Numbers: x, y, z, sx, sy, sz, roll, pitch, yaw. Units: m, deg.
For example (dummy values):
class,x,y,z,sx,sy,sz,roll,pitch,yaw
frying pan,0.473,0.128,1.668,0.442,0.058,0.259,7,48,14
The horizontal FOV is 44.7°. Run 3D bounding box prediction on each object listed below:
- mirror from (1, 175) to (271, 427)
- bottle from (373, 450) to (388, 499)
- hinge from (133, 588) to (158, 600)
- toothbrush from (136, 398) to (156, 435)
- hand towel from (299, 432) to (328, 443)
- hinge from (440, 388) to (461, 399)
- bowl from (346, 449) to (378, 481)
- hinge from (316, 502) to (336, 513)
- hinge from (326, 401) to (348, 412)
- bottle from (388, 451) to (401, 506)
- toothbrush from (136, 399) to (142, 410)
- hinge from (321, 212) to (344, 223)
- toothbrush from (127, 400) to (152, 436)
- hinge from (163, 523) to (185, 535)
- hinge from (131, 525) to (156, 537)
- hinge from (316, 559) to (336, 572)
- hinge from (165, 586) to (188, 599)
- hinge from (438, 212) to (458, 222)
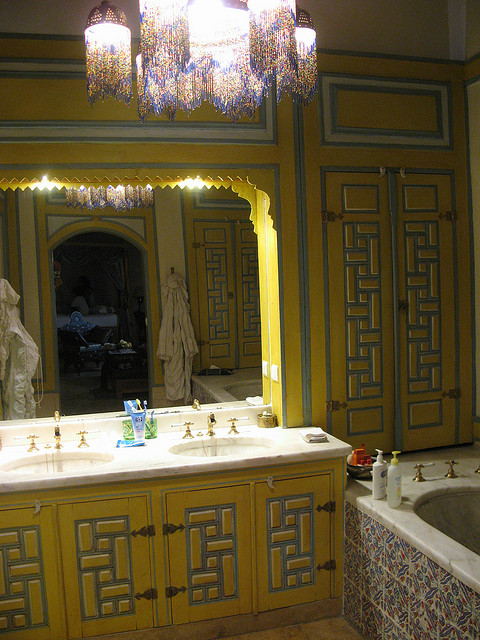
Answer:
class,x,y,z,sx,sy,sz,roll,pitch,yaw
mirror,-0.498,-0.091,2.907,1.347,1.193,0.246,-3,0,-21
bottle,0.604,0.675,2.510,0.064,0.216,0.103,-3,0,14
hinge,-0.388,1.156,2.444,0.109,0.046,0.017,0,0,-17
toothbrush,-0.463,0.488,2.860,0.021,0.172,0.013,-24,-3,28
hand towel,0.341,0.568,2.751,0.145,0.042,0.113,-4,0,21
hinge,1.189,0.427,3.270,0.092,0.065,0.026,-2,4,-9
bowl,0.594,0.707,2.874,0.125,0.150,0.224,-3,0,16
hinge,0.396,0.860,2.642,0.068,0.052,0.014,-3,4,-13
hinge,0.504,0.461,3.030,0.078,0.057,0.028,-3,2,-12
bottle,0.660,0.681,2.477,0.047,0.228,0.108,-3,0,28
toothbrush,-0.500,0.424,2.920,0.013,0.064,0.010,-9,-26,-32
hinge,0.478,-0.526,2.980,0.078,0.058,0.027,0,3,-16
toothbrush,-0.497,0.492,2.850,0.135,0.169,0.068,-3,-1,37
hinge,-0.285,0.881,2.440,0.064,0.047,0.018,-4,0,-19
hinge,-0.391,0.881,2.419,0.110,0.044,0.021,-2,1,-12
hinge,0.396,1.130,2.659,0.071,0.051,0.030,-8,-24,-4
hinge,-0.273,1.161,2.467,0.064,0.052,0.019,-1,-4,-19
hinge,1.151,-0.563,3.217,0.086,0.056,0.053,-2,9,-2
